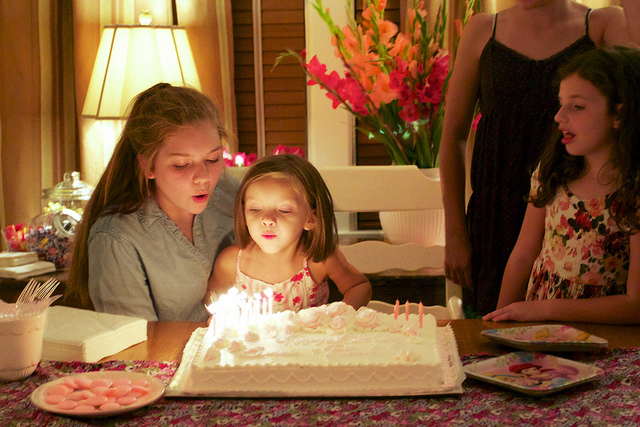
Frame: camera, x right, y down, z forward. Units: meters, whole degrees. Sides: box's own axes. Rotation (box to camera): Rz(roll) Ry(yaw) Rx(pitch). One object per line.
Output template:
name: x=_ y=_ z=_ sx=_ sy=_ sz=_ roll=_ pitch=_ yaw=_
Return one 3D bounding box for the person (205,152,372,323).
person: x=-0.120 y=0.174 z=1.974 sx=0.605 sy=0.774 sz=0.414 roll=5 pitch=11 yaw=2

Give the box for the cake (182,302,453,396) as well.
cake: x=0.009 y=0.324 z=1.309 sx=0.619 sy=0.110 sz=0.342 roll=-1 pitch=8 yaw=1

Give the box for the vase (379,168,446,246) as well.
vase: x=0.406 y=-0.033 z=2.240 sx=0.303 sy=0.333 sz=0.324 roll=-4 pitch=6 yaw=-32

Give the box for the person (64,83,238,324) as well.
person: x=-0.532 y=-0.017 z=1.761 sx=0.603 sy=0.821 sz=0.346 roll=-5 pitch=10 yaw=-24

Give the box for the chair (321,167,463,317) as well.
chair: x=0.343 y=0.081 z=2.326 sx=0.692 sy=0.845 sz=0.595 roll=0 pitch=9 yaw=7
